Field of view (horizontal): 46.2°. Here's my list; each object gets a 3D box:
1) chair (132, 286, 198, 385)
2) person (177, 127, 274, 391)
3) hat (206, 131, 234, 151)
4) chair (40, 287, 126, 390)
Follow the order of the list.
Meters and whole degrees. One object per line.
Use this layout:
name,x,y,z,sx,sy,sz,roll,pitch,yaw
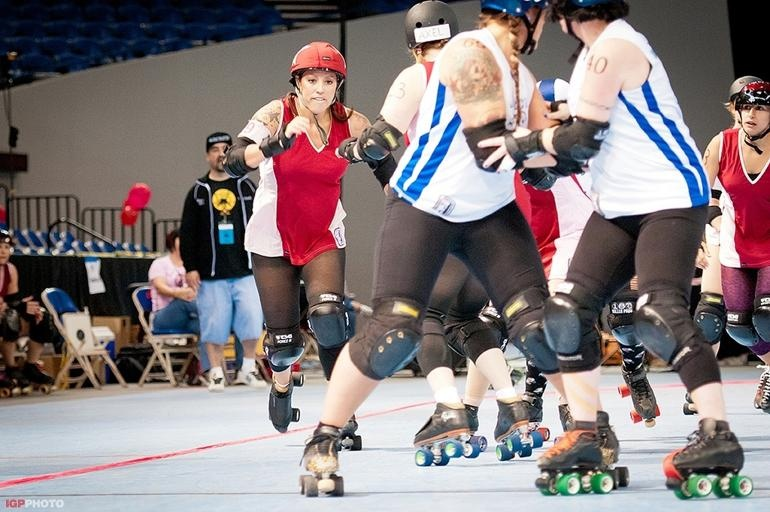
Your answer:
chair,-2.640,0.914,10.918,0.914,1.359,0.767,0,-2,-41
person,-1.919,0.052,10.624,1.211,3.055,1.035,0,-1,0
hat,-1.913,-1.325,10.371,0.291,0.197,0.294,0,-3,-11
chair,-3.440,0.908,10.344,0.783,1.358,0.905,-1,-1,3
